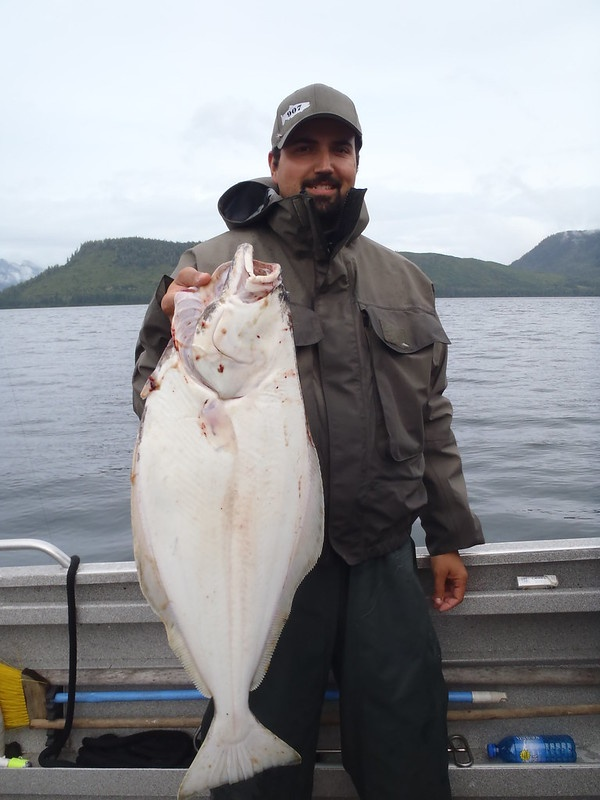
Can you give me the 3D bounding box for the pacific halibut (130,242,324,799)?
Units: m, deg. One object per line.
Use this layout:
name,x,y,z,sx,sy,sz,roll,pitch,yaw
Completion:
pacific halibut,-0.203,0.323,2.388,0.566,1.537,0.402,-6,10,-11

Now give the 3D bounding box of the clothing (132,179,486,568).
clothing,0.148,-0.011,3.200,1.338,1.325,0.495,-1,-12,-10

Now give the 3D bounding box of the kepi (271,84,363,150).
kepi,0.057,-1.008,2.862,0.327,0.185,0.390,-8,8,-10
